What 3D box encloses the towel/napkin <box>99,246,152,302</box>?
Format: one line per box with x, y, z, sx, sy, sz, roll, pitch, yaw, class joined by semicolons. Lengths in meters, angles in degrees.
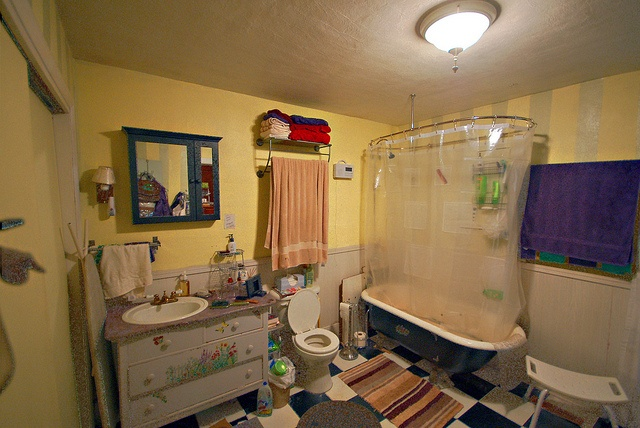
-1.763;0.527;3.856;0.487;0.596;0.102;-2;1;-35;towel/napkin

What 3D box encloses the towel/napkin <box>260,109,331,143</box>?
-0.257;-0.859;4.445;0.470;0.176;0.365;-1;6;-26;towel/napkin

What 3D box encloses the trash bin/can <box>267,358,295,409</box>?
-0.376;1.639;4.172;0.264;0.388;0.273;-5;7;-19;trash bin/can

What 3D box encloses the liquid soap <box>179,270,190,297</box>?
-1.309;0.680;4.140;0.104;0.236;0.069;-6;8;-26;liquid soap

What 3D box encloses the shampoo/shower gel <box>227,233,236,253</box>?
-0.895;0.306;4.334;0.082;0.188;0.137;-4;7;-14;shampoo/shower gel

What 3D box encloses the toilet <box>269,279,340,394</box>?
-0.104;1.279;4.407;0.530;0.936;0.661;-4;7;-14;toilet

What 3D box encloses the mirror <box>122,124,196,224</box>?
-1.532;-0.381;4.006;0.913;1.016;0.145;-2;2;-34;mirror

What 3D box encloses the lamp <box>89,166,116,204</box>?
-1.919;-0.253;3.823;0.176;0.337;0.146;-6;8;-28;lamp

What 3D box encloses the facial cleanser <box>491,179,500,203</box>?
1.706;-0.210;4.185;0.072;0.233;0.025;0;7;16;facial cleanser

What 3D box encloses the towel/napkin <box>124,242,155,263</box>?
-1.634;0.360;3.989;0.068;0.205;0.201;3;4;33;towel/napkin

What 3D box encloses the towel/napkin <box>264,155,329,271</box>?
-0.249;0.002;4.628;0.769;1.229;0.248;-8;9;-40;towel/napkin

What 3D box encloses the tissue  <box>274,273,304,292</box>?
-0.318;0.748;4.607;0.273;0.136;0.147;-2;7;-34;tissue 
